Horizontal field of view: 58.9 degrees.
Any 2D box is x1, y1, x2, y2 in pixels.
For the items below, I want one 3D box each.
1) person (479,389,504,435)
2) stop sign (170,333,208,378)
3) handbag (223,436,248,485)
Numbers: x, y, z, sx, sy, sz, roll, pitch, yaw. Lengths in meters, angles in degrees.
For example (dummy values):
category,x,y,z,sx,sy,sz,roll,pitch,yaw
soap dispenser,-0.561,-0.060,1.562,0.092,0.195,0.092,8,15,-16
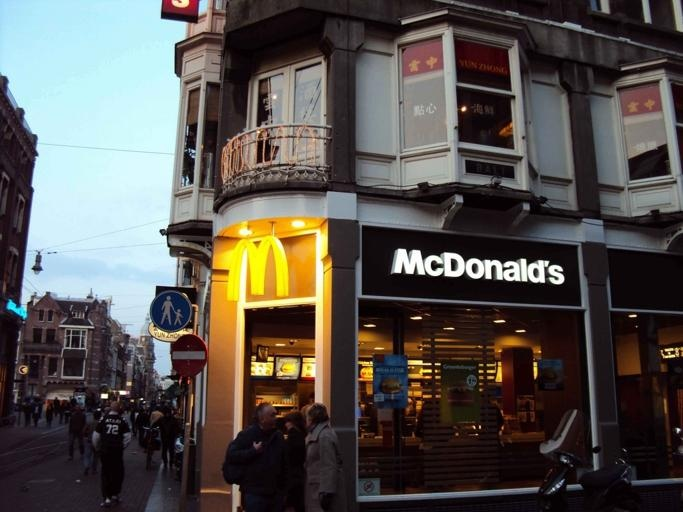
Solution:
category,x,y,z,sx,sy,sz,roll,pitch,yaw
person,3.112,3.230,12.455,0.642,0.916,0.172,11,-18,-41
stop sign,-2.716,1.727,10.688,0.580,0.739,0.404,3,-14,-18
handbag,-1.605,3.018,8.955,0.260,0.724,0.353,6,-16,-28
